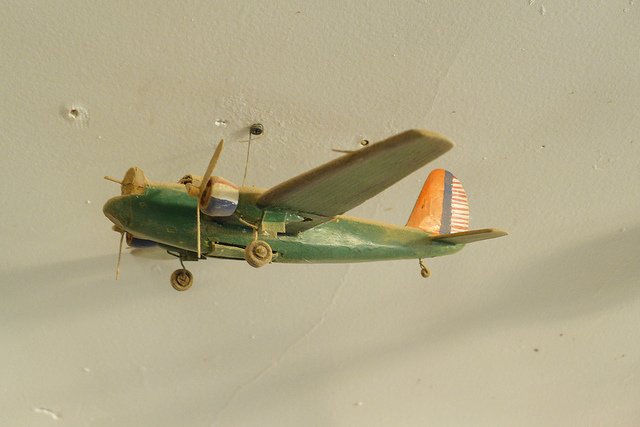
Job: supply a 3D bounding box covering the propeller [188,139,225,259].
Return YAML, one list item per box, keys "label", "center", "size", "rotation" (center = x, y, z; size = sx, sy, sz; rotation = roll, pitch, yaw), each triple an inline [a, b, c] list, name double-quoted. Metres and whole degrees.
- label: "propeller"
  center: [-1.082, -0.159, 10.488]
  size: [0.242, 1.141, 1.058]
  rotation: [12, 73, -8]

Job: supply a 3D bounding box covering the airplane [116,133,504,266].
- label: "airplane"
  center: [-0.129, -0.019, 11.052]
  size: [3.313, 3.738, 0.987]
  rotation: [9, 87, -27]
